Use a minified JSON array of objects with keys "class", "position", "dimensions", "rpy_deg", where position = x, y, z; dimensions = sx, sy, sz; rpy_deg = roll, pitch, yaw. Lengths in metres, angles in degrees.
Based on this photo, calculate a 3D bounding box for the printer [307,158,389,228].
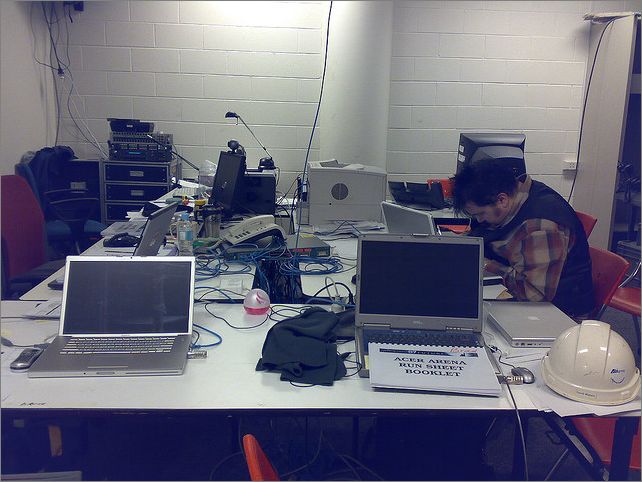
[{"class":"printer","position":[0.235,-0.269,3.905],"dimensions":[0.690,0.396,0.691],"rpy_deg":[2,-4,-13]}]

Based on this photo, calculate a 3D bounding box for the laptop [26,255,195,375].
[{"class":"laptop","position":[-0.741,0.262,1.988],"dimensions":[0.550,0.295,0.514],"rpy_deg":[3,12,0]}]

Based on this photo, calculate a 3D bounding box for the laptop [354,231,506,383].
[{"class":"laptop","position":[0.370,0.213,1.986],"dimensions":[0.557,0.382,0.488],"rpy_deg":[3,13,13]}]

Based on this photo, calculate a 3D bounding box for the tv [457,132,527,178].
[{"class":"tv","position":[1.005,-0.503,3.204],"dimensions":[0.411,0.370,0.224],"rpy_deg":[0,11,3]}]

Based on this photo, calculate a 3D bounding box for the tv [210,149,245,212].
[{"class":"tv","position":[-0.601,-0.376,3.545],"dimensions":[0.053,0.362,0.500],"rpy_deg":[12,16,-30]}]

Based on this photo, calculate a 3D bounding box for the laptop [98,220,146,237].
[{"class":"laptop","position":[-1.154,-0.077,3.253],"dimensions":[0.244,0.057,0.224],"rpy_deg":[0,10,-7]}]

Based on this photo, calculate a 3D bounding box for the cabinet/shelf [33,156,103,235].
[{"class":"cabinet/shelf","position":[-1.964,-0.354,4.203],"dimensions":[0.459,0.704,0.449],"rpy_deg":[-2,19,-8]}]

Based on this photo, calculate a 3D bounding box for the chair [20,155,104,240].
[{"class":"chair","position":[-1.941,-0.325,4.059],"dimensions":[0.559,0.699,0.467],"rpy_deg":[-1,22,-5]}]

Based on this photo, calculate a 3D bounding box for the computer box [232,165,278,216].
[{"class":"computer box","position":[-0.446,-0.318,3.635],"dimensions":[0.249,0.294,0.456],"rpy_deg":[0,14,-4]}]

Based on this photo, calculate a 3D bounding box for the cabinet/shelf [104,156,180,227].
[{"class":"cabinet/shelf","position":[-1.521,-0.363,4.637],"dimensions":[0.589,0.326,0.568],"rpy_deg":[-15,47,-7]}]
